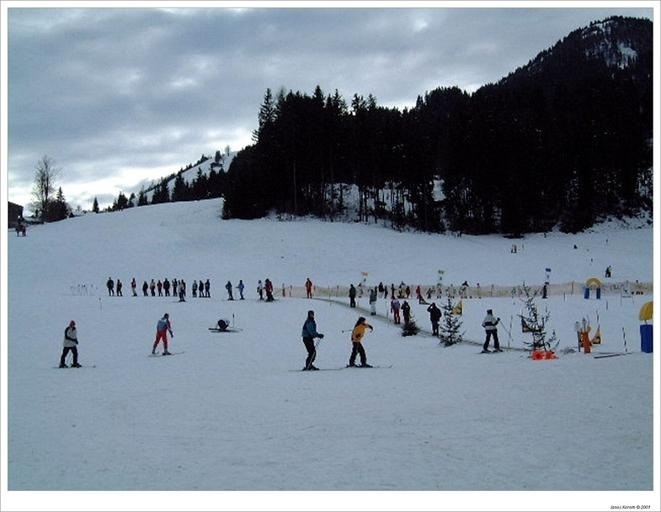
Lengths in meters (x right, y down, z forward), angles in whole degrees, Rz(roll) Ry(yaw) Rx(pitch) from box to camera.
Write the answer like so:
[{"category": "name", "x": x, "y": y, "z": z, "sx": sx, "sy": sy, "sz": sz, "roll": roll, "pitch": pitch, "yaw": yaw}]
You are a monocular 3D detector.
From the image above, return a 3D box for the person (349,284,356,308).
[{"category": "person", "x": 1.367, "y": 2.392, "z": 45.149, "sx": 0.333, "sy": 1.348, "sz": 1.125, "roll": -1, "pitch": 6, "yaw": 4}]

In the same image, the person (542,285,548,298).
[{"category": "person", "x": 13.360, "y": 2.168, "z": 47.129, "sx": 0.281, "sy": 0.867, "sz": 1.891, "roll": 0, "pitch": 6, "yaw": 14}]
